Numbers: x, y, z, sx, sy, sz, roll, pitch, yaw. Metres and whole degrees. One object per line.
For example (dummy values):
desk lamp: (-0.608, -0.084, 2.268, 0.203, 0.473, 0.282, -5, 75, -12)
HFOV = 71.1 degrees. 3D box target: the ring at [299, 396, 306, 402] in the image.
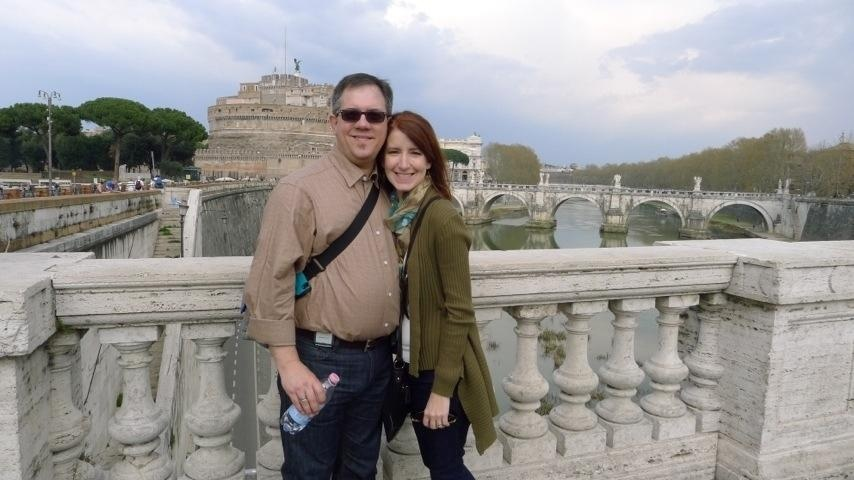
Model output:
ring: (-0.666, 0.855, 3.234, 0.032, 0.008, 0.030, 2, -1, 0)

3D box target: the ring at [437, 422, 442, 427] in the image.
ring: (0.076, 1.025, 3.326, 0.034, 0.012, 0.024, 0, 1, -13)

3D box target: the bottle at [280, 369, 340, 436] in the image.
bottle: (-0.639, 0.908, 3.306, 0.320, 0.358, 0.122, 0, 4, -10)
